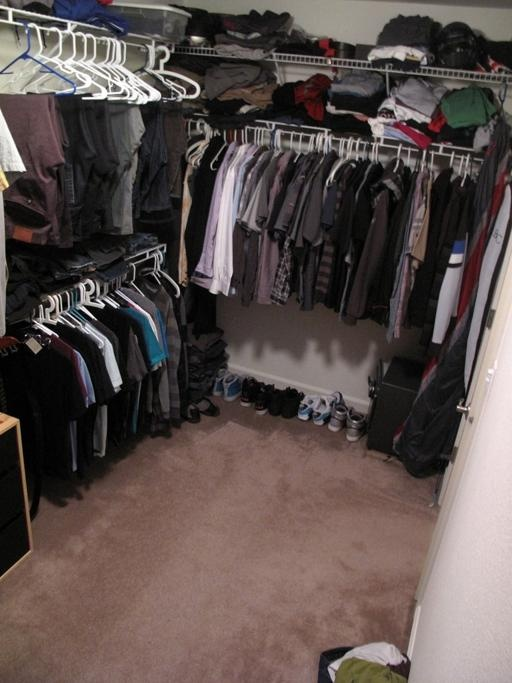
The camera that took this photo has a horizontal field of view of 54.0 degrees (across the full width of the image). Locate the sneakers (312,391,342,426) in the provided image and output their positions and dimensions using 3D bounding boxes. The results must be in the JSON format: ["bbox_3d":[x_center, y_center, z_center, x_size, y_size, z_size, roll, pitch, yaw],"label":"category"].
[{"bbox_3d":[0.488,0.415,3.410,0.100,0.139,0.316,11,31,24],"label":"sneakers"}]

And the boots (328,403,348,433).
[{"bbox_3d":[0.526,0.489,3.243,0.071,0.100,0.224,9,18,10],"label":"boots"}]

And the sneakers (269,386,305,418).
[{"bbox_3d":[0.195,0.406,3.353,0.123,0.120,0.254,5,16,16],"label":"sneakers"}]

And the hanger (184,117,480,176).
[{"bbox_3d":[0.390,-1.104,2.810,1.646,0.154,0.463,16,25,21],"label":"hanger"}]

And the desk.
[{"bbox_3d":[0.962,0.315,3.173,0.422,0.691,0.669,9,27,10],"label":"desk"}]

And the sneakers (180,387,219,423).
[{"bbox_3d":[-0.374,0.397,3.330,0.271,0.279,0.134,0,41,-6],"label":"sneakers"}]

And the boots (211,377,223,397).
[{"bbox_3d":[-0.259,0.316,3.499,0.045,0.096,0.142,8,22,19],"label":"boots"}]

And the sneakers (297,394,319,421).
[{"bbox_3d":[0.350,0.433,3.357,0.079,0.099,0.230,7,38,22],"label":"sneakers"}]

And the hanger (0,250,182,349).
[{"bbox_3d":[-0.785,-0.305,2.399,0.270,0.294,1.012,18,26,28],"label":"hanger"}]

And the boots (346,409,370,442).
[{"bbox_3d":[0.638,0.537,3.203,0.077,0.102,0.230,3,16,9],"label":"boots"}]
